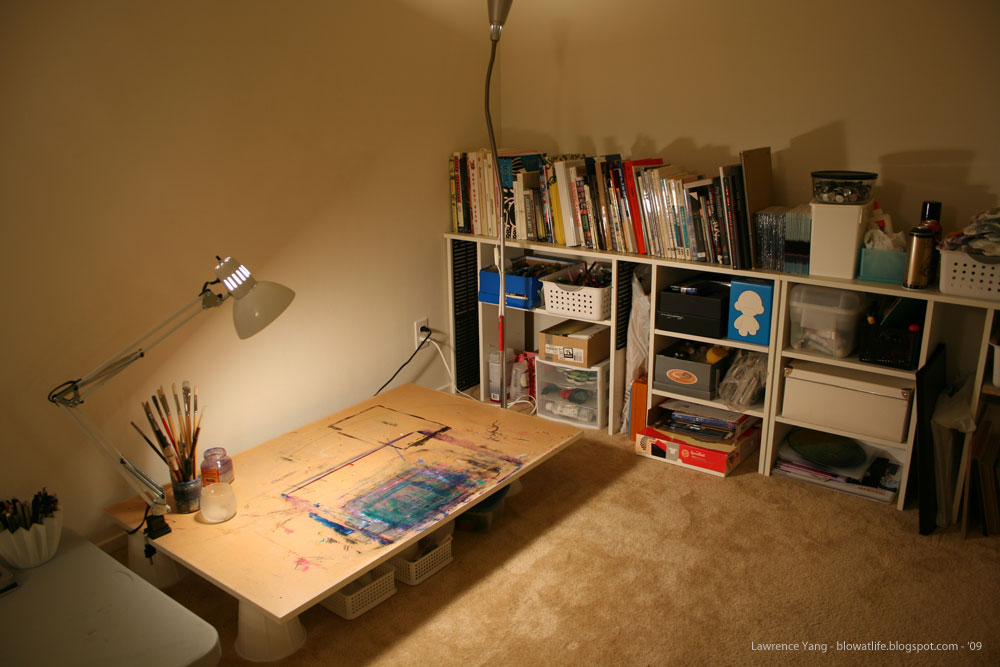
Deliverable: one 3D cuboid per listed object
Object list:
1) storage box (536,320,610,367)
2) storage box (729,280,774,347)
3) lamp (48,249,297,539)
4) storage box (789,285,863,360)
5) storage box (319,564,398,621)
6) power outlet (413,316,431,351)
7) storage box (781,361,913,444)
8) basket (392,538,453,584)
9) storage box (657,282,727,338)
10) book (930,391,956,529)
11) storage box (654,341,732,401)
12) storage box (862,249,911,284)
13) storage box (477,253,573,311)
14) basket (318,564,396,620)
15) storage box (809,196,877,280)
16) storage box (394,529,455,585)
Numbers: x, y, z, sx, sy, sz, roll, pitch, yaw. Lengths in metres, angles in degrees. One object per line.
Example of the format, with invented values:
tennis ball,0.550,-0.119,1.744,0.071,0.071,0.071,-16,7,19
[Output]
storage box,0.461,0.046,4.043,0.298,0.160,0.290,13,24,34
storage box,1.244,-0.084,3.648,0.235,0.321,0.177,8,-9,-7
lamp,-1.334,0.213,2.898,0.857,1.076,0.783,-15,21,-33
storage box,1.565,-0.087,3.558,0.386,0.377,0.285,13,23,38
storage box,-0.575,1.056,2.938,0.213,0.088,0.218,13,21,40
power outlet,-0.474,-0.011,4.208,0.021,0.186,0.172,10,20,30
storage box,1.765,0.293,3.607,0.592,0.279,0.449,9,19,16
basket,-0.318,0.977,3.068,0.191,0.080,0.187,-23,27,-40
storage box,1.014,-0.130,3.723,0.308,0.193,0.320,12,21,38
book,2.033,0.604,3.247,0.099,0.746,0.447,1,19,29
storage box,1.054,0.208,3.902,0.405,0.185,0.409,-1,14,5
storage box,1.796,-0.318,3.285,0.167,0.119,0.173,7,21,30
storage box,0.157,-0.357,4.253,0.339,0.146,0.447,11,20,31
basket,-0.582,1.062,2.936,0.213,0.087,0.219,13,22,40
storage box,1.650,-0.479,3.445,0.341,0.349,0.341,0,-5,-33
storage box,-0.333,0.977,3.108,0.187,0.078,0.243,14,26,43
